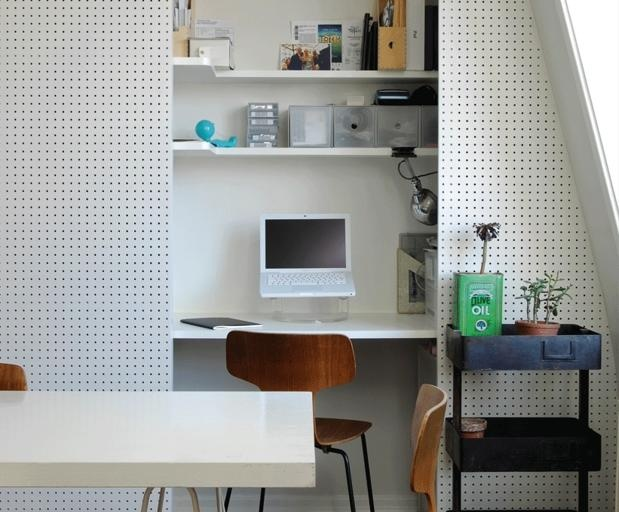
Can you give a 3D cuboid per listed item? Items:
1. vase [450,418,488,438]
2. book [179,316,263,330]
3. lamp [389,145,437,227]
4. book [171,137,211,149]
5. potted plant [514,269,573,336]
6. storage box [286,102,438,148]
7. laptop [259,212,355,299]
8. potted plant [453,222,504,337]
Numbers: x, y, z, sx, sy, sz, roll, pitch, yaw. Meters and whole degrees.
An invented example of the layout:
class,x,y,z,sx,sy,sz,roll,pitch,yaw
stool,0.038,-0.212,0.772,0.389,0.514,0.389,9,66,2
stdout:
class,x,y,z,sx,sy,sz,roll,pitch,yaw
vase,0.668,0.707,2.883,0.091,0.079,0.094,0,-3,-1
book,-0.387,0.299,3.254,0.364,0.033,0.290,1,1,27
lamp,0.518,-0.337,3.420,0.224,0.407,0.273,3,10,11
book,-0.526,-0.504,3.144,0.132,0.039,0.164,5,13,17
potted plant,0.984,0.176,2.931,0.225,0.365,0.238,0,0,26
storage box,0.258,-0.627,3.346,0.712,0.205,0.064,1,9,-2
laptop,-0.024,-0.019,3.394,0.411,0.369,0.388,-1,17,-1
potted plant,0.712,0.088,2.898,0.219,0.448,0.327,3,10,12
